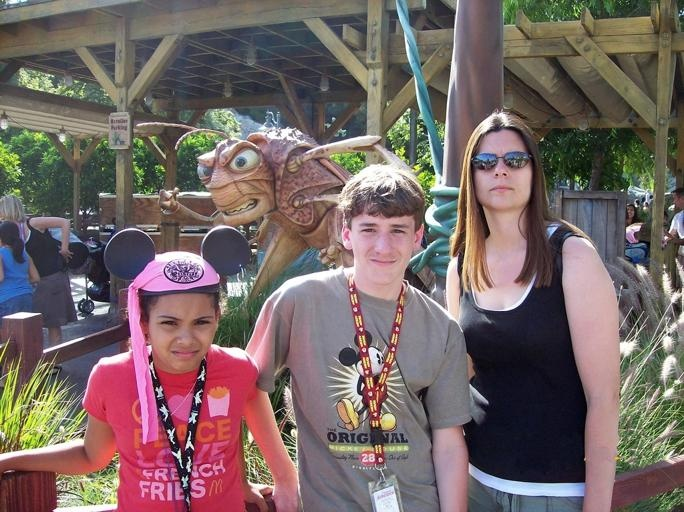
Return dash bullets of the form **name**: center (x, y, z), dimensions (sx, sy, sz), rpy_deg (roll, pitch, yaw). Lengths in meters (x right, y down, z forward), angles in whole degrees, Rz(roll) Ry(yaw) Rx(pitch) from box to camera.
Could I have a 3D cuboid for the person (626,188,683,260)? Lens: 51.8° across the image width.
- **person**: center (4.073, -0.419, 9.167), dimensions (0.704, 0.620, 2.642), rpy_deg (-2, 0, 23)
